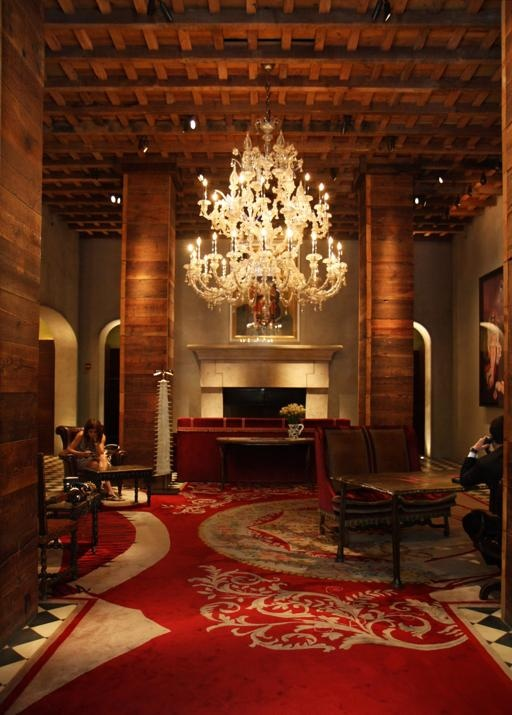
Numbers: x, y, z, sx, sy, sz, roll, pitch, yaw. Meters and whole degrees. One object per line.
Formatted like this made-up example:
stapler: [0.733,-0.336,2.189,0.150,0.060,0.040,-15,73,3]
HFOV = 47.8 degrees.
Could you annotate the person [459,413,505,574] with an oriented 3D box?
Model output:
person: [1.487,0.926,3.811,0.268,1.078,0.853,-1,-5,21]

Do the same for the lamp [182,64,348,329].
lamp: [0.097,-1.805,6.919,1.873,2.850,1.806,-2,5,-16]

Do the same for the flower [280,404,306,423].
flower: [0.531,0.745,7.862,0.332,0.322,0.332,-1,2,-25]

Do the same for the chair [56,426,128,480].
chair: [-1.900,1.053,6.530,0.589,0.714,0.611,9,-23,-39]

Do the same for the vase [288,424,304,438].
vase: [0.522,0.984,7.763,0.190,0.180,0.440,0,-4,4]

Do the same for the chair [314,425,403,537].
chair: [0.743,1.033,4.955,0.763,1.043,0.882,2,-12,-11]

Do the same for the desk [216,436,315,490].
desk: [0.135,1.384,7.653,1.277,0.668,0.724,1,-4,0]

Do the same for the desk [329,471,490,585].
desk: [0.998,1.290,4.134,1.185,0.539,0.656,3,-4,-35]
